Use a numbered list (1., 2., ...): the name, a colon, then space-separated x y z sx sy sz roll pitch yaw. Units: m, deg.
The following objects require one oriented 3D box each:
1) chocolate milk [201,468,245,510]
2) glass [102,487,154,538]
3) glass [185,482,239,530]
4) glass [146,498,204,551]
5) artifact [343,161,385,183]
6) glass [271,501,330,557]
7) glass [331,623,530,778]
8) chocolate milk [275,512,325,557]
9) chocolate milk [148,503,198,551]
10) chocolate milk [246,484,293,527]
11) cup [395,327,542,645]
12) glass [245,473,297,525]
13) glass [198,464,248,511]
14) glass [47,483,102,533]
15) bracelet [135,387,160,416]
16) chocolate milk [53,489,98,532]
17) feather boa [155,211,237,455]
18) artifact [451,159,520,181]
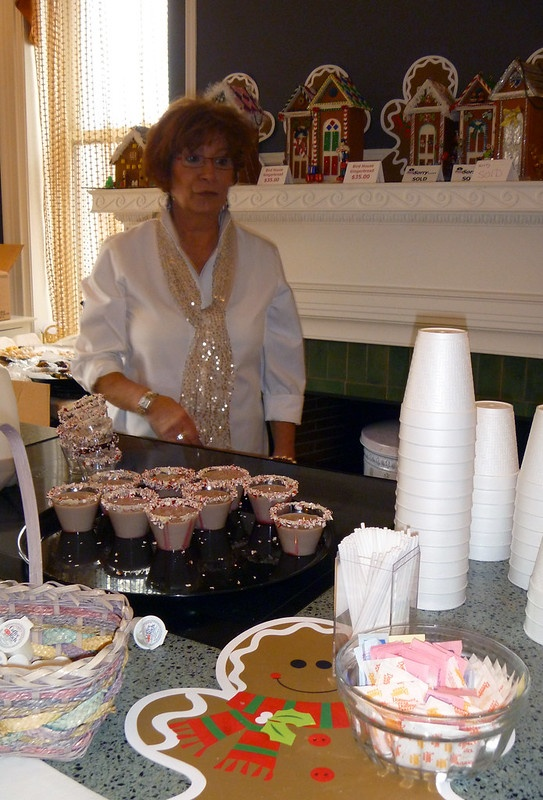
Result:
1. chocolate milk: -0.076 0.138 1.029 0.066 0.042 0.063 0 6 -3
2. glass: -0.202 0.156 0.891 0.067 0.045 0.067 18 19 34
3. glass: -0.086 0.152 0.925 0.061 0.040 0.058 0 1 -5
4. glass: -0.131 0.162 0.833 0.072 0.051 0.069 -10 14 -26
5. artifact: 0.345 -0.859 2.448 0.115 0.073 0.047 16 19 30
6. glass: 0.051 0.179 0.856 0.064 0.041 0.063 3 -8 -31
7. glass: 0.121 0.228 0.492 0.144 0.057 0.138 -2 6 3
8. chocolate milk: 0.037 0.172 0.839 0.055 0.033 0.053 1 0 0
9. chocolate milk: -0.130 0.165 0.831 0.068 0.048 0.069 4 6 41
10. chocolate milk: -0.005 0.149 0.937 0.058 0.037 0.055 0 8 -3
11. cup: 0.185 0.081 0.724 0.086 0.315 0.080 0 13 0
12. glass: 0.004 0.146 0.974 0.069 0.044 0.066 -1 13 -15
13. glass: -0.075 0.138 1.030 0.069 0.045 0.066 0 5 -3
14. glass: -0.268 0.157 0.913 0.070 0.048 0.070 -9 -18 -1
15. bracelet: -0.294 0.005 1.505 0.038 0.059 0.057 28 -7 12
16. chocolate milk: -0.271 0.151 0.895 0.058 0.040 0.056 0 0 0
17. feather boa: -0.200 -0.188 1.781 0.215 0.626 0.221 -2 13 -9
18. artifact: 0.716 -0.776 2.218 0.233 0.082 0.069 10 16 40
